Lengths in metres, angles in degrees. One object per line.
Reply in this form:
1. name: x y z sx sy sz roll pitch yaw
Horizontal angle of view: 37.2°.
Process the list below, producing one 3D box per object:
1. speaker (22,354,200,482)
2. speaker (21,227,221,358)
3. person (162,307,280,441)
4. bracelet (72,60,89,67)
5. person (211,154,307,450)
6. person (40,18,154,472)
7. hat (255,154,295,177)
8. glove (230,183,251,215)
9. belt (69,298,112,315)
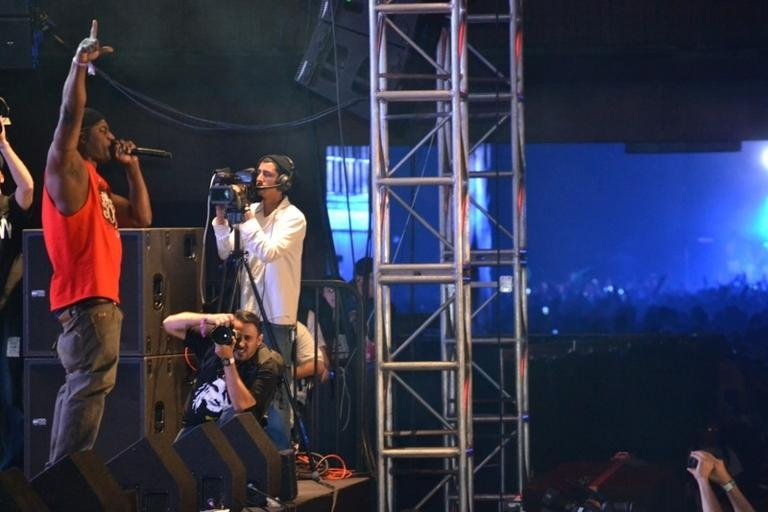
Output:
1. speaker: -2.413 1.255 10.109 1.415 1.363 1.012 0 -7 1
2. speaker: -2.406 0.285 10.139 1.572 1.123 1.573 -3 9 -10
3. person: -1.398 1.011 9.643 0.651 0.962 0.528 36 -1 14
4. bracelet: -2.373 -1.483 8.874 0.083 0.062 0.085 3 0 16
5. person: -1.171 0.538 10.416 0.866 2.871 0.843 -2 8 -21
6. person: -2.410 -0.045 9.286 0.746 3.499 1.341 3 -4 -7
7. hat: -0.982 -0.830 10.415 0.262 0.132 0.323 4 1 -20
8. glove: -1.249 -0.496 10.005 0.147 0.252 0.092 6 12 15
9. belt: -2.335 0.403 9.100 0.214 0.076 0.177 -6 -10 -11
